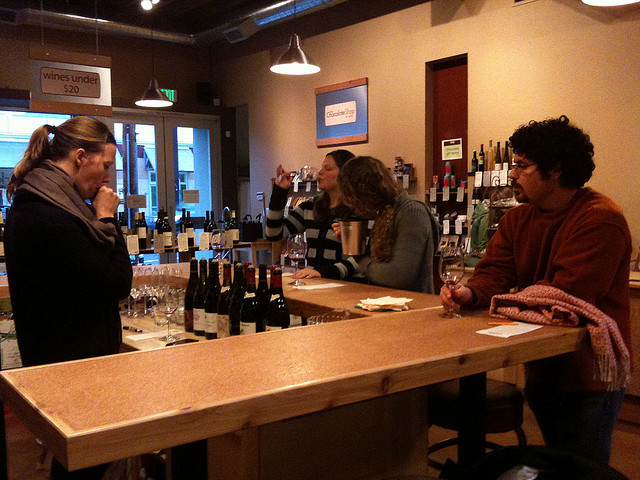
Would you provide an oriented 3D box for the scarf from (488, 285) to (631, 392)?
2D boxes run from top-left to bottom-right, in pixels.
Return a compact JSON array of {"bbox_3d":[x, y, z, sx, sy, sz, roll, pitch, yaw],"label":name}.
[{"bbox_3d":[0.877,0.349,1.828,0.470,0.356,0.143,2,5,33],"label":"scarf"}]

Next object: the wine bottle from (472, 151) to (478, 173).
[{"bbox_3d":[1.563,-0.794,4.965,0.048,0.223,0.169,0,4,15],"label":"wine bottle"}]

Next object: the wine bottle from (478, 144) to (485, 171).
[{"bbox_3d":[1.616,-0.821,4.909,0.048,0.258,0.097,0,4,18],"label":"wine bottle"}]

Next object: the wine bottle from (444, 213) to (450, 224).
[{"bbox_3d":[1.360,-0.246,5.276,0.059,0.072,0.071,1,4,3],"label":"wine bottle"}]

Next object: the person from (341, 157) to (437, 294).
[{"bbox_3d":[0.392,-0.089,2.864,0.562,0.810,0.299,0,4,14],"label":"person"}]

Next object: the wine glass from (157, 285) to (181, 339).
[{"bbox_3d":[-0.759,0.371,2.470,0.098,0.247,0.094,-3,-4,42],"label":"wine glass"}]

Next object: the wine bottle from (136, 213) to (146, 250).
[{"bbox_3d":[-1.762,-0.084,4.851,0.084,0.361,0.105,-3,4,-22],"label":"wine bottle"}]

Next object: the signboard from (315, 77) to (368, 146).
[{"bbox_3d":[0.302,-1.657,6.297,0.105,0.852,0.926,-5,5,-44],"label":"signboard"}]

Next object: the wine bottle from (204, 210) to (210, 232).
[{"bbox_3d":[-1.219,-0.205,5.302,0.059,0.208,0.302,-2,4,-15],"label":"wine bottle"}]
